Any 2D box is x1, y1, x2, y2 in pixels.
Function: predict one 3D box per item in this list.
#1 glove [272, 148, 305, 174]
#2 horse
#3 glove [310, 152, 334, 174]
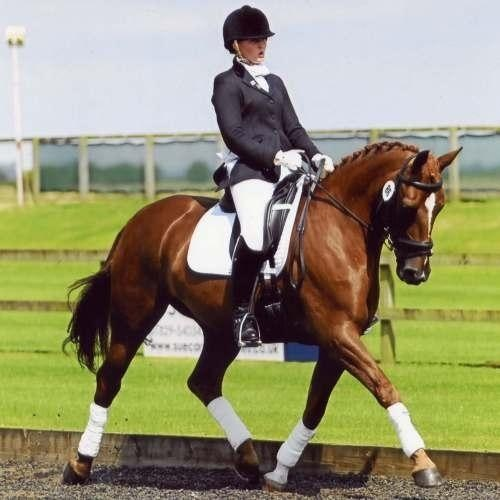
[{"bbox_3d":[0.274,-0.632,9.860,0.143,0.068,0.167,-1,42,1],"label":"glove"},{"bbox_3d":[-0.025,0.492,10.172,3.095,2.526,0.879,1,3,28],"label":"horse"},{"bbox_3d":[0.528,-0.617,9.983,0.087,0.069,0.174,-10,50,-25],"label":"glove"}]
